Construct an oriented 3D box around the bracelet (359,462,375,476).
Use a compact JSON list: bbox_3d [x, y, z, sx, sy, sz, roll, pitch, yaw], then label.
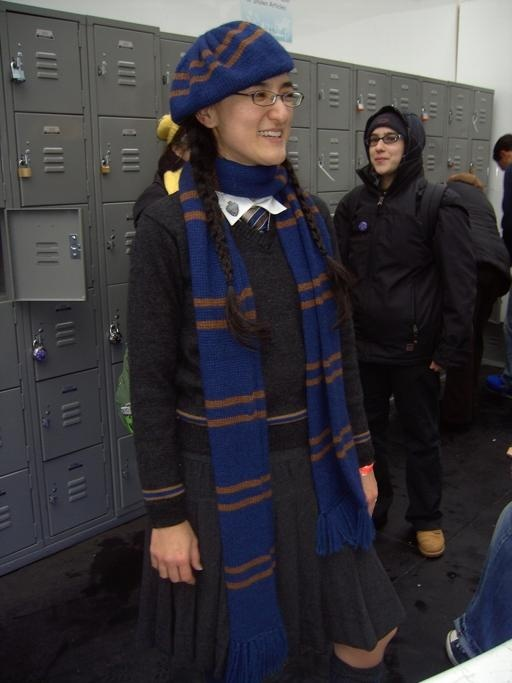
[{"bbox_3d":[0.227,0.275,1.105,0.030,0.018,0.040,0,1,-1],"label":"bracelet"}]
